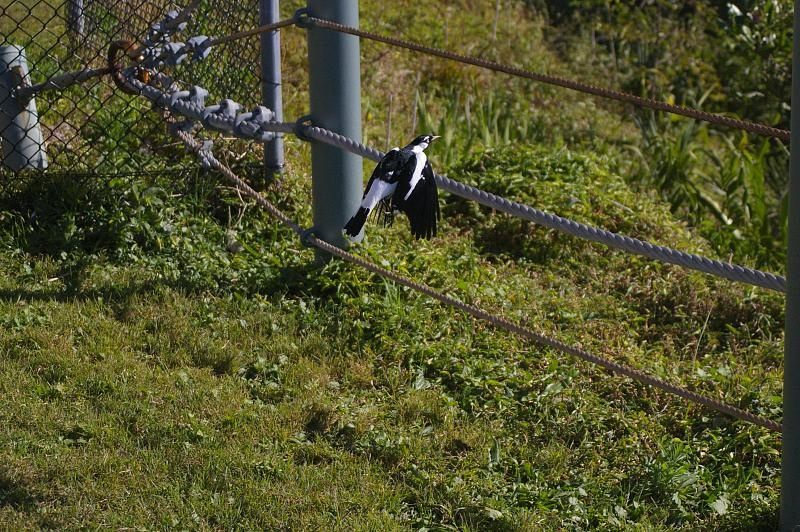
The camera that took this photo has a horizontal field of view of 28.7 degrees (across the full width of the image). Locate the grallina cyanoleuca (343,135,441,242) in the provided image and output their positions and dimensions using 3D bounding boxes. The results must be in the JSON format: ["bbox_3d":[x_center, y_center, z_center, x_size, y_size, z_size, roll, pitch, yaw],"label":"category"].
[{"bbox_3d":[-0.033,-0.547,10.963,0.610,0.627,0.730,4,22,22],"label":"grallina cyanoleuca"}]
